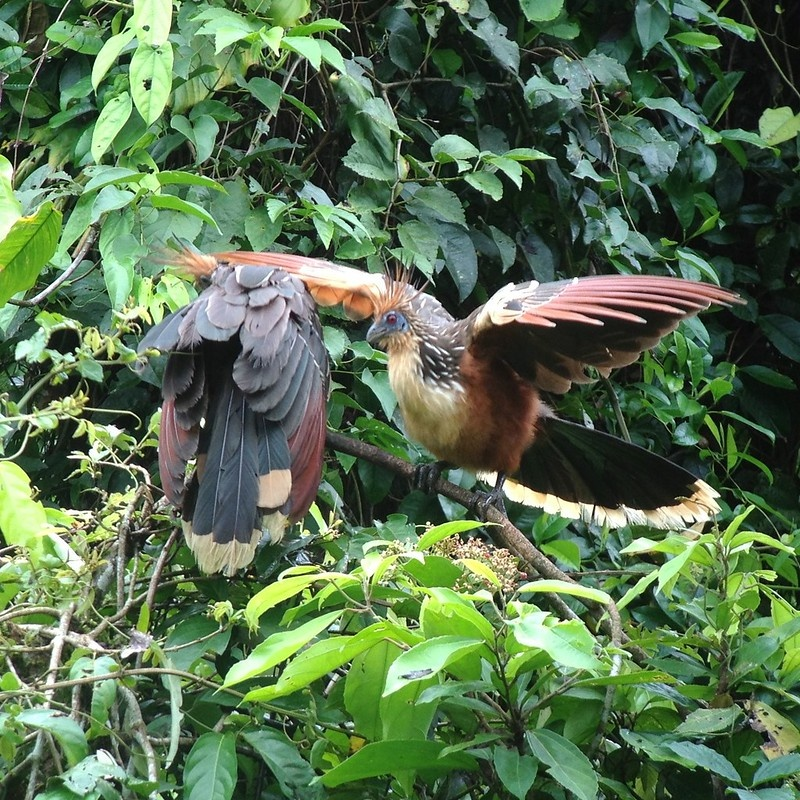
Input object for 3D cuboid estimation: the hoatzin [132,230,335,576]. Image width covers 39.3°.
[{"bbox_3d":[-0.428,-0.131,2.675,0.505,0.454,1.024,1,41,-17],"label":"hoatzin"}]
